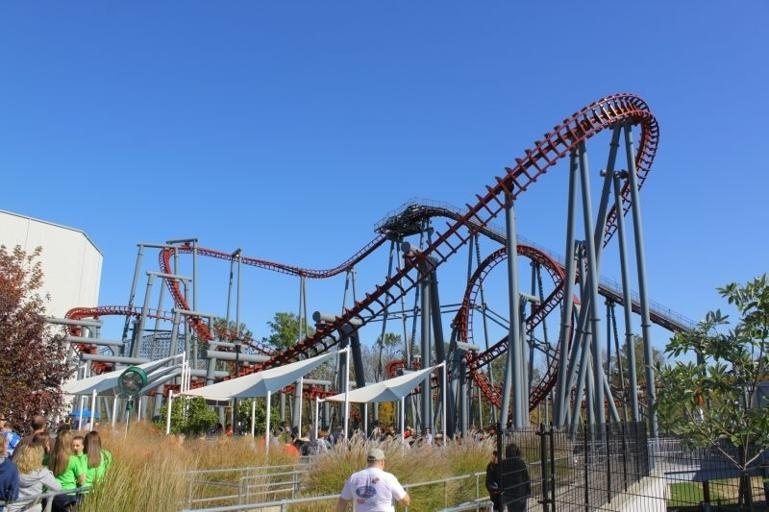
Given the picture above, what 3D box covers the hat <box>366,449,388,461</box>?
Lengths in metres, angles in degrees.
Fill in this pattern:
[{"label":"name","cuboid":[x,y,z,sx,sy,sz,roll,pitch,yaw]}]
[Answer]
[{"label":"hat","cuboid":[-0.116,2.699,8.634,0.200,0.167,0.296,-7,-18,19]}]
